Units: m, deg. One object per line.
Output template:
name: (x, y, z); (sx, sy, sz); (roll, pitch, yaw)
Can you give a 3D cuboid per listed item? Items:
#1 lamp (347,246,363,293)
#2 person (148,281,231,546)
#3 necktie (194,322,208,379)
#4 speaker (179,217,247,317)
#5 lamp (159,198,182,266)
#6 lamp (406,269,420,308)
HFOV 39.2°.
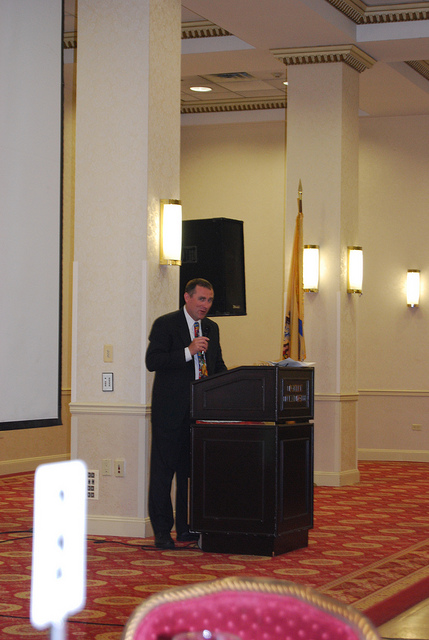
lamp: (1.792, -0.654, 7.761); (0.190, 0.537, 0.099); (1, 0, -5)
person: (-0.281, 0.764, 4.913); (0.645, 2.061, 0.716); (1, 0, 19)
necktie: (-0.096, 0.234, 4.717); (0.112, 0.425, 0.237); (1, 0, -8)
speaker: (-0.018, -0.562, 6.355); (0.697, 1.001, 0.550); (1, 0, -2)
lamp: (-0.387, -0.782, 5.283); (0.189, 0.575, 0.146); (1, 0, -9)
lamp: (3.262, -0.523, 9.946); (0.206, 0.549, 0.132); (1, 0, 17)
